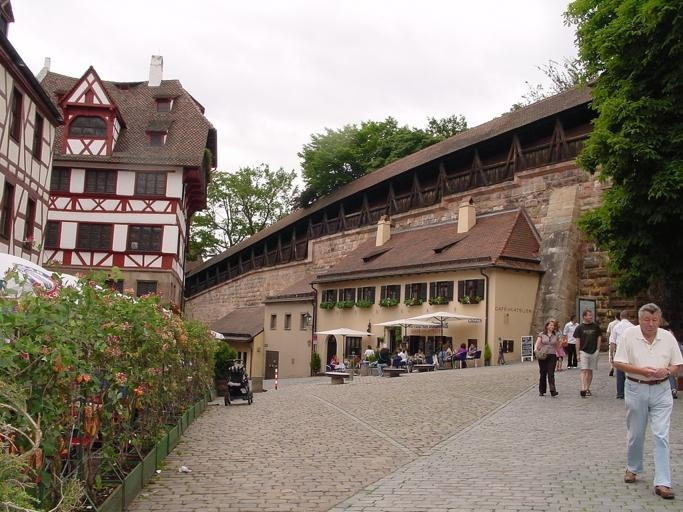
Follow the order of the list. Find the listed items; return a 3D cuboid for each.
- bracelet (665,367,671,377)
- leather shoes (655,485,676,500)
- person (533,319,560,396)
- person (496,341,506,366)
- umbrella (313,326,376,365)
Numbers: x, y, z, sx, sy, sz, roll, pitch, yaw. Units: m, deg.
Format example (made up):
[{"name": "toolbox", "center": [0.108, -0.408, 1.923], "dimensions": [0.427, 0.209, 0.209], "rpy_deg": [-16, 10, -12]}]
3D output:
[{"name": "bracelet", "center": [3.773, 1.347, 6.115], "dimensions": [0.040, 0.105, 0.090], "rpy_deg": [-5, 12, -2]}, {"name": "leather shoes", "center": [3.487, 2.547, 5.710], "dimensions": [0.091, 0.099, 0.233], "rpy_deg": [-2, -12, -2]}, {"name": "person", "center": [5.408, 2.705, 13.892], "dimensions": [0.630, 1.946, 1.046], "rpy_deg": [6, -1, 23]}, {"name": "person", "center": [7.696, 4.612, 25.542], "dimensions": [0.357, 1.173, 0.789], "rpy_deg": [6, -1, 26]}, {"name": "umbrella", "center": [0.177, 6.021, 33.466], "dimensions": [2.858, 1.808, 2.682], "rpy_deg": [0, -2, 24]}]
